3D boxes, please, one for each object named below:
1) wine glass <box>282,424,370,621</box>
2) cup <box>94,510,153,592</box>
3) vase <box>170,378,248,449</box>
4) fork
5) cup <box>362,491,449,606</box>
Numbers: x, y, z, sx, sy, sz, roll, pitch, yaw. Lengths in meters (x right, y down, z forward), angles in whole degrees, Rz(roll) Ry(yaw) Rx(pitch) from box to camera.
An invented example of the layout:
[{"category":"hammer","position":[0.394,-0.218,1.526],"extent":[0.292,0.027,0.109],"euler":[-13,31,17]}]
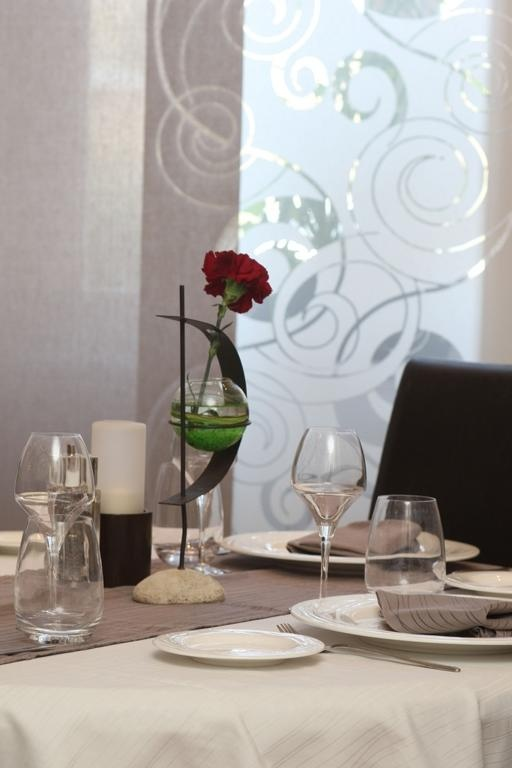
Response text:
[{"category":"wine glass","position":[0.067,0.141,0.705],"extent":[0.073,0.202,0.066],"euler":[-1,16,-7]},{"category":"cup","position":[-0.138,0.190,0.814],"extent":[0.084,0.081,0.072],"euler":[12,-15,-40]},{"category":"vase","position":[-0.051,0.032,0.787],"extent":[0.085,0.068,0.081],"euler":[1,0,2]},{"category":"fork","position":[0.080,0.180,0.486],"extent":[0.108,0.011,0.012],"euler":[6,-28,16]},{"category":"cup","position":[0.120,0.131,0.591],"extent":[0.075,0.068,0.059],"euler":[2,0,4]}]
